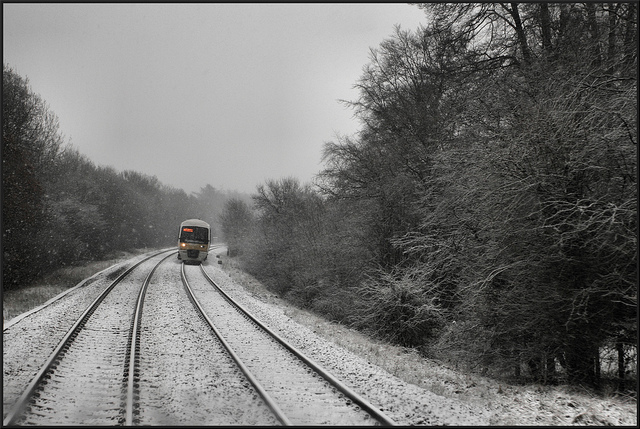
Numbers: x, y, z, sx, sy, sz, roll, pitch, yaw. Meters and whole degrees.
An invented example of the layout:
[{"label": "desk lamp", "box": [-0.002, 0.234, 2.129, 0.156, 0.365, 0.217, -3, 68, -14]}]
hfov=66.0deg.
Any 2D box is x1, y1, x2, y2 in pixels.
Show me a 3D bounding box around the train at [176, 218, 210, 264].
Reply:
[{"label": "train", "box": [-9.262, 2.078, 36.383, 2.133, 2.896, 0.921, -1, 12, -18]}]
